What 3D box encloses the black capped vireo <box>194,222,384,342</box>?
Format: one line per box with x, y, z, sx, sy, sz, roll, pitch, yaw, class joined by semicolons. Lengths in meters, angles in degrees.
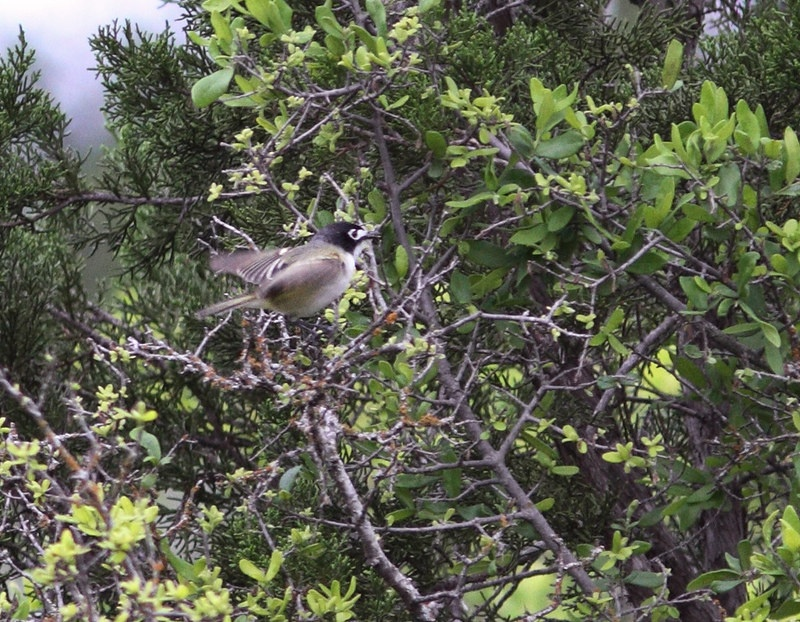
-0.608;-0.196;6.288;0.982;0.607;0.487;-1;8;-5;black capped vireo
